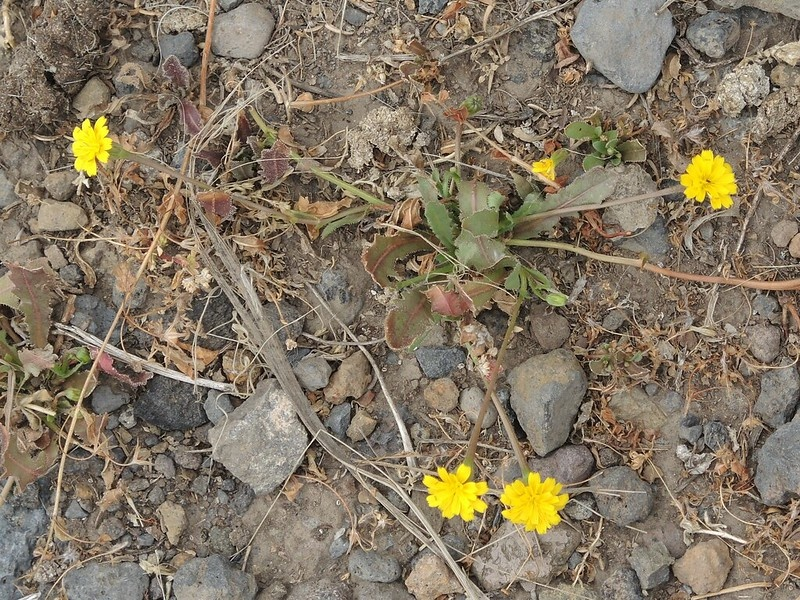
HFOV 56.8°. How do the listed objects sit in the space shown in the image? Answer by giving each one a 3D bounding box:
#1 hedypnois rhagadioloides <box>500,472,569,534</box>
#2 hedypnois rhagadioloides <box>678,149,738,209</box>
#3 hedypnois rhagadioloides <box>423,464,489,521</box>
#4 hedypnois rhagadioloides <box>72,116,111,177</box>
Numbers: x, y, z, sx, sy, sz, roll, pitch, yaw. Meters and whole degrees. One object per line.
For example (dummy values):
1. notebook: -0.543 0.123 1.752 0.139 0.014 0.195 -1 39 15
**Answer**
1. hedypnois rhagadioloides: 0.462 0.687 2.558 0.217 0.244 0.085 -15 112 -12
2. hedypnois rhagadioloides: 1.094 -0.425 2.627 0.199 0.125 0.184 24 81 9
3. hedypnois rhagadioloides: 0.198 0.717 2.717 0.245 0.075 0.290 1 102 19
4. hedypnois rhagadioloides: -1.101 -0.560 2.662 0.055 0.156 0.167 33 62 21
